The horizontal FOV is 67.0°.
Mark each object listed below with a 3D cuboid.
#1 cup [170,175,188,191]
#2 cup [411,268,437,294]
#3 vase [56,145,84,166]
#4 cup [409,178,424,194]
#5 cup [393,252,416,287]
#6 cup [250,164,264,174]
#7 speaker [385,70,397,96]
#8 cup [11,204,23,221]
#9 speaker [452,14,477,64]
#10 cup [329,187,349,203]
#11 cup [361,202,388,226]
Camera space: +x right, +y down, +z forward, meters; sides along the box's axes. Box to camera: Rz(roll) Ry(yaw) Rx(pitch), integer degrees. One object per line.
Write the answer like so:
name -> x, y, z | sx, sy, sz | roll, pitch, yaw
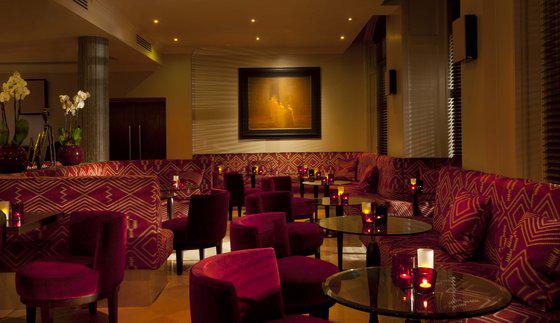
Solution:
cup -> -1.713, 0.354, 7.158 | 0.280, 0.298, 0.438 | -1, -3, 1
cup -> 1.311, 1.067, 3.802 | 0.241, 0.181, 0.254 | -4, -1, 0
vase -> -3.377, -0.093, 6.817 | 0.398, 0.340, 0.384 | 3, 3, 14
cup -> 2.210, 0.387, 6.770 | 0.268, 0.263, 0.241 | -1, -1, 25
cup -> 1.137, 0.990, 3.880 | 0.186, 0.293, 0.162 | -1, 2, 17
cup -> -0.541, 0.183, 9.856 | 0.252, 0.222, 0.246 | 0, -1, 0
speaker -> 2.257, -1.593, 8.502 | 0.160, 0.503, 0.219 | -2, 2, -1
cup -> -3.057, 0.578, 4.909 | 0.128, 0.150, 0.120 | -2, 2, 0
speaker -> 2.589, -1.692, 5.862 | 0.232, 0.603, 0.309 | -2, 2, -5
cup -> 0.848, 0.497, 6.224 | 0.327, 0.198, 0.180 | -1, -2, 30
cup -> 1.121, 0.613, 5.112 | 0.277, 0.241, 0.345 | 0, 0, 38
